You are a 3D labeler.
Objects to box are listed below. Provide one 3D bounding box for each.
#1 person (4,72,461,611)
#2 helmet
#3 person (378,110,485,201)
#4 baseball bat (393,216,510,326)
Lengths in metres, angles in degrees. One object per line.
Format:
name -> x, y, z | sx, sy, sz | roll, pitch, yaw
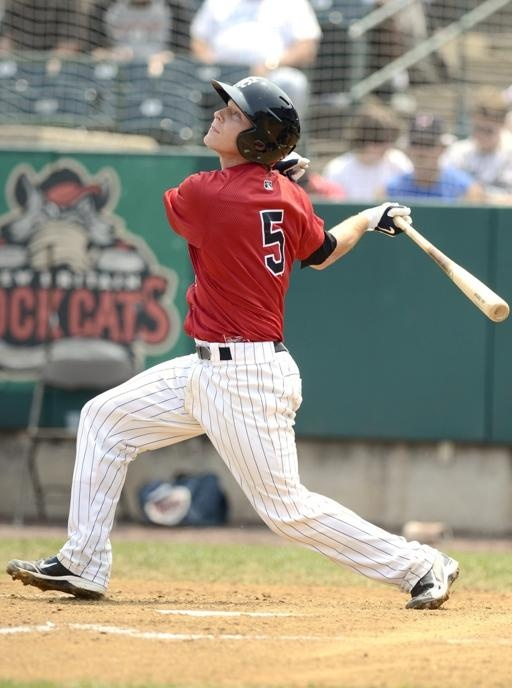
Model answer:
person -> -0.044, 0.007, 4.039 | 1.399, 1.761, 0.484 | 3, -2, -11
helmet -> -0.004, -0.760, 3.975 | 0.356, 0.239, 0.237 | 9, 16, 0
person -> 1.031, -1.070, 6.940 | 0.826, 0.562, 0.335 | 0, -4, 3
baseball bat -> 0.969, -0.358, 5.828 | 1.005, 0.118, 0.127 | 38, 18, 35
